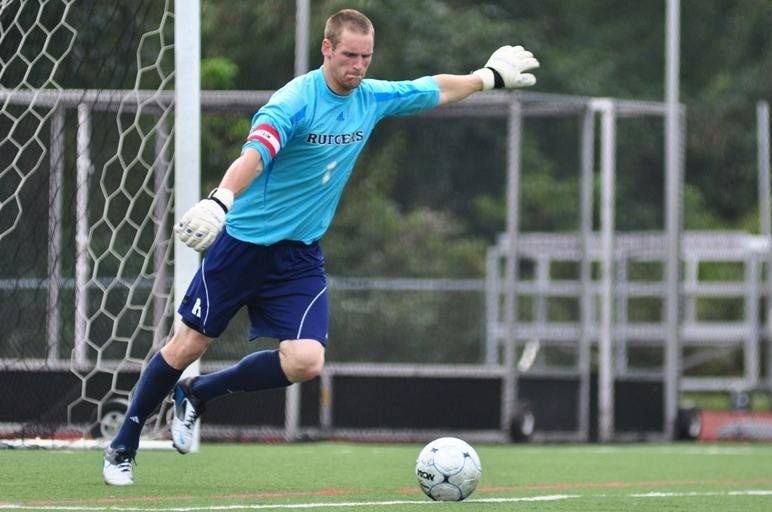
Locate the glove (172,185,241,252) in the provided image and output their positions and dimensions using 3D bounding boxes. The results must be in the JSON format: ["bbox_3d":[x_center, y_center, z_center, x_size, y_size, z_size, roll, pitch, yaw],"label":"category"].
[{"bbox_3d":[-1.206,-0.231,9.897,0.461,0.287,0.209,-43,0,-4],"label":"glove"}]

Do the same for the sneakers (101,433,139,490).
[{"bbox_3d":[-1.899,1.477,10.378,0.142,0.189,0.398,12,17,-39],"label":"sneakers"}]

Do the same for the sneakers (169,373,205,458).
[{"bbox_3d":[-1.457,1.162,10.647,0.245,0.591,0.191,-5,-8,29],"label":"sneakers"}]

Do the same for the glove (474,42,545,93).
[{"bbox_3d":[0.908,-1.394,10.845,0.611,0.453,0.214,-6,-38,26],"label":"glove"}]
